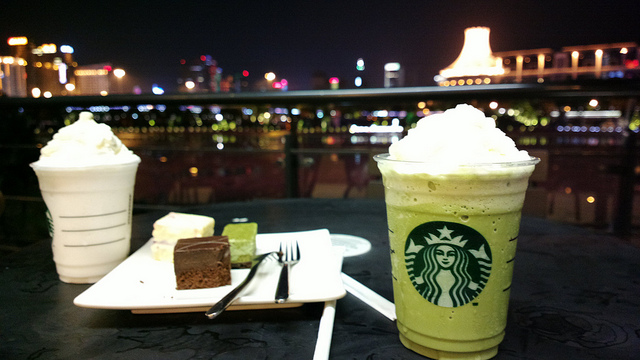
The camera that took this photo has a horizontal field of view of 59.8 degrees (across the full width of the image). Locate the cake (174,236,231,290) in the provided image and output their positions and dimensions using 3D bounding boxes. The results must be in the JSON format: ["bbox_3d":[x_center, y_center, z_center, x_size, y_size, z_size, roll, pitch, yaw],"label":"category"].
[{"bbox_3d":[-0.504,0.349,2.403,0.250,0.142,0.214,-2,12,-1],"label":"cake"}]

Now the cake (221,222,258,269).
[{"bbox_3d":[-0.361,0.291,2.493,0.125,0.193,0.121,2,2,3],"label":"cake"}]
